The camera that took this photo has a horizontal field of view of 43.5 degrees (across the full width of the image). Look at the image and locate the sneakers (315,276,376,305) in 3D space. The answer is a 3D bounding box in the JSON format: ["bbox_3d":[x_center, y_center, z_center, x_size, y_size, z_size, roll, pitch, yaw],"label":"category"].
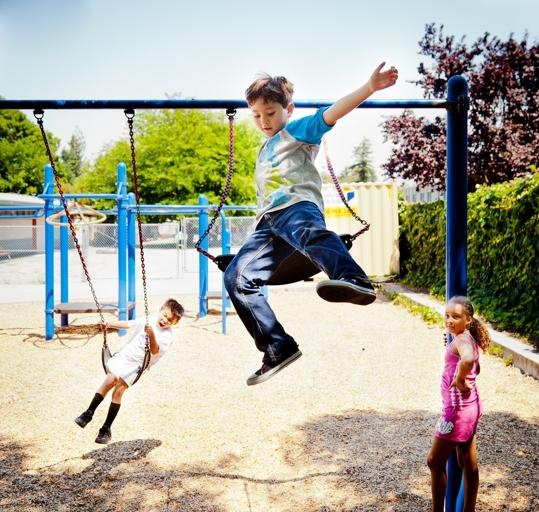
[{"bbox_3d":[0.398,0.191,3.574,0.303,0.170,0.286,-1,6,5],"label":"sneakers"}]

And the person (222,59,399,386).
[{"bbox_3d":[0.256,-0.155,3.878,0.965,1.777,0.862,1,7,19],"label":"person"}]

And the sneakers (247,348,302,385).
[{"bbox_3d":[0.021,0.626,3.813,0.302,0.213,0.195,-2,6,-4],"label":"sneakers"}]
